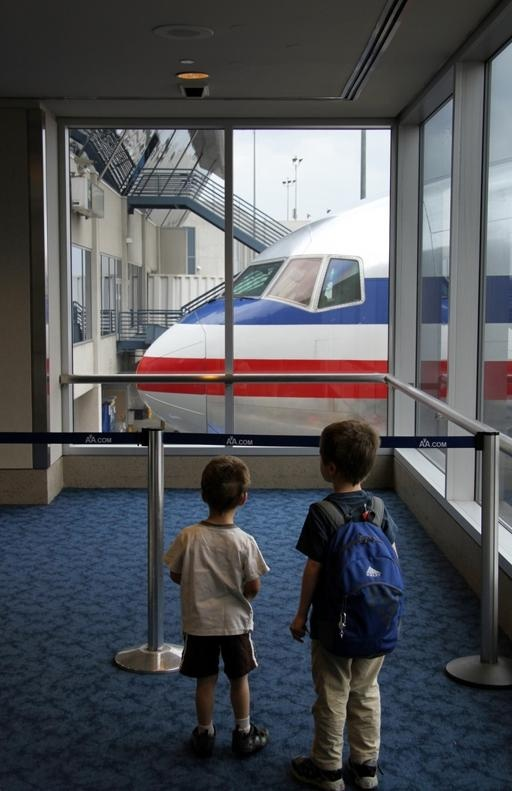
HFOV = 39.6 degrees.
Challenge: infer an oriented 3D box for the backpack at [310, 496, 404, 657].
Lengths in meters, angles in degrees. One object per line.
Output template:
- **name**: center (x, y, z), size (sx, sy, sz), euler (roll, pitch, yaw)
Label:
- **backpack**: center (0.245, 0.428, 1.698), size (0.185, 0.340, 0.170), euler (0, 3, -10)

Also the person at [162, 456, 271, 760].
- **person**: center (-0.102, 0.591, 1.989), size (0.267, 0.857, 0.242), euler (0, 2, 2)

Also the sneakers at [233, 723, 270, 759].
- **sneakers**: center (-0.010, 0.977, 2.020), size (0.049, 0.065, 0.135), euler (-2, -8, 24)
